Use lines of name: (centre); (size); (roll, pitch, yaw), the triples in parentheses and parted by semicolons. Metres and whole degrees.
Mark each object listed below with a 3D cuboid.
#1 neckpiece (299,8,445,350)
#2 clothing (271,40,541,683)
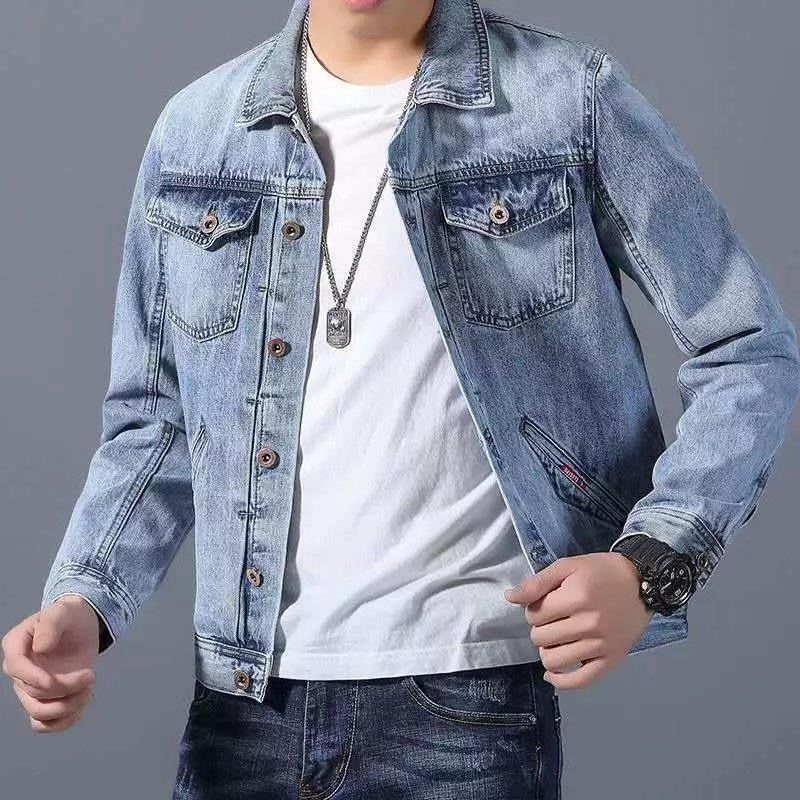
neckpiece: (-0.069, -0.274, 1.529); (0.119, 0.407, 0.012); (3, -10, 21)
clothing: (-0.024, -0.080, 1.543); (0.316, 0.842, 0.130); (-4, -14, -7)
